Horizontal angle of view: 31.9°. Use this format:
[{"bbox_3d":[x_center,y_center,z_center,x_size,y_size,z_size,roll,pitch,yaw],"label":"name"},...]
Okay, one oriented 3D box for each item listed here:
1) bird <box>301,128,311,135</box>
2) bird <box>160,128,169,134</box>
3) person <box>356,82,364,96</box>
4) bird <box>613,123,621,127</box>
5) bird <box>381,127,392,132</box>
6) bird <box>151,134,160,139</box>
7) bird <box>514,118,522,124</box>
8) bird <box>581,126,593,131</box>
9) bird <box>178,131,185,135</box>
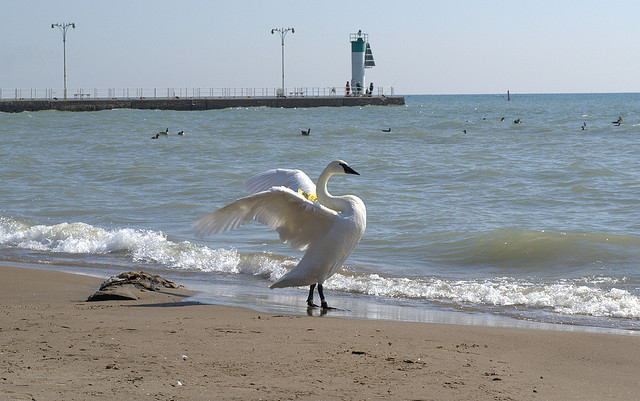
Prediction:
[{"bbox_3d":[-0.663,-2.830,46.511,0.393,0.182,0.292,9,-39,9],"label":"bird"},{"bbox_3d":[-6.514,-2.911,46.232,0.438,0.115,0.377,15,-17,7],"label":"bird"},{"bbox_3d":[2.939,-8.532,85.435,0.330,0.722,0.585,4,2,23],"label":"person"},{"bbox_3d":[14.285,-3.659,53.754,0.593,0.192,0.510,0,1,3],"label":"bird"},{"bbox_3d":[3.051,-3.168,50.023,0.400,0.138,0.349,3,4,-16],"label":"bird"},{"bbox_3d":[-6.600,-2.536,44.220,0.375,0.196,0.113,-2,27,31],"label":"bird"},{"bbox_3d":[10.156,-4.091,57.646,0.536,0.197,0.458,-1,12,-33],"label":"bird"},{"bbox_3d":[12.327,-3.344,51.618,0.512,0.152,0.448,3,5,11],"label":"bird"},{"bbox_3d":[-5.836,-2.828,46.690,0.411,0.140,0.456,-4,0,-16],"label":"bird"}]
